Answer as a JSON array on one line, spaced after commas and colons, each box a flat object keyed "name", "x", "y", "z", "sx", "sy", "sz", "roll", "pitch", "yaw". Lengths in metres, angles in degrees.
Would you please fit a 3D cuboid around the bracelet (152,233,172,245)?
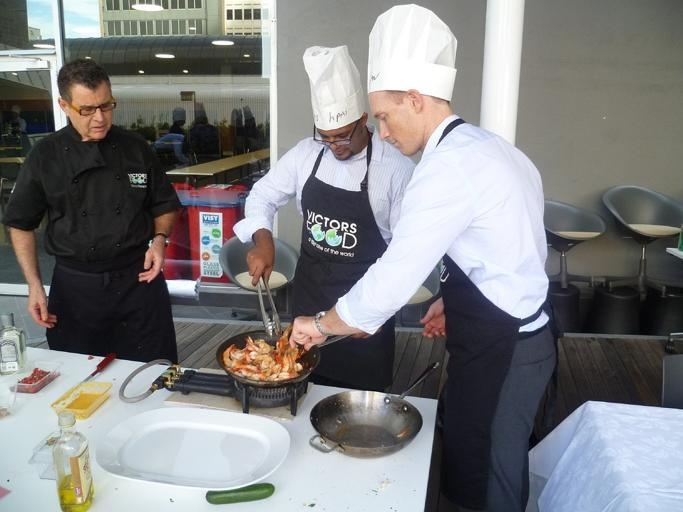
[{"name": "bracelet", "x": -0.957, "y": -0.084, "z": 2.746, "sx": 0.085, "sy": 0.053, "sz": 0.067, "roll": 3, "pitch": 14, "yaw": 36}]

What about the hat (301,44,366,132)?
[{"name": "hat", "x": -0.031, "y": -0.798, "z": 2.439, "sx": 0.223, "sy": 0.354, "sz": 0.307, "roll": 4, "pitch": 26, "yaw": 32}]

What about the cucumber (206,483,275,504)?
[{"name": "cucumber", "x": -0.305, "y": 0.710, "z": 1.562, "sx": 0.140, "sy": 0.047, "sz": 0.040, "roll": -1, "pitch": 30, "yaw": -7}]

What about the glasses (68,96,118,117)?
[{"name": "glasses", "x": -1.136, "y": -0.695, "z": 2.441, "sx": 0.121, "sy": 0.072, "sz": 0.225, "roll": 10, "pitch": 21, "yaw": 36}]

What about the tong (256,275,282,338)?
[{"name": "tong", "x": -0.448, "y": 0.296, "z": 3.249, "sx": 0.107, "sy": 0.117, "sz": 0.469, "roll": -10, "pitch": 58, "yaw": -11}]

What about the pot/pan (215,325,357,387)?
[{"name": "pot/pan", "x": -0.278, "y": 0.388, "z": 1.959, "sx": 0.354, "sy": 0.058, "sz": 0.212, "roll": -13, "pitch": 19, "yaw": -42}]

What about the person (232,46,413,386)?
[{"name": "person", "x": -0.065, "y": 0.030, "z": 2.776, "sx": 0.924, "sy": 2.232, "sz": 0.787, "roll": 9, "pitch": 25, "yaw": 10}]

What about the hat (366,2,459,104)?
[{"name": "hat", "x": 0.215, "y": -0.758, "z": 1.943, "sx": 0.359, "sy": 0.361, "sz": 0.294, "roll": -2, "pitch": 2, "yaw": -30}]
